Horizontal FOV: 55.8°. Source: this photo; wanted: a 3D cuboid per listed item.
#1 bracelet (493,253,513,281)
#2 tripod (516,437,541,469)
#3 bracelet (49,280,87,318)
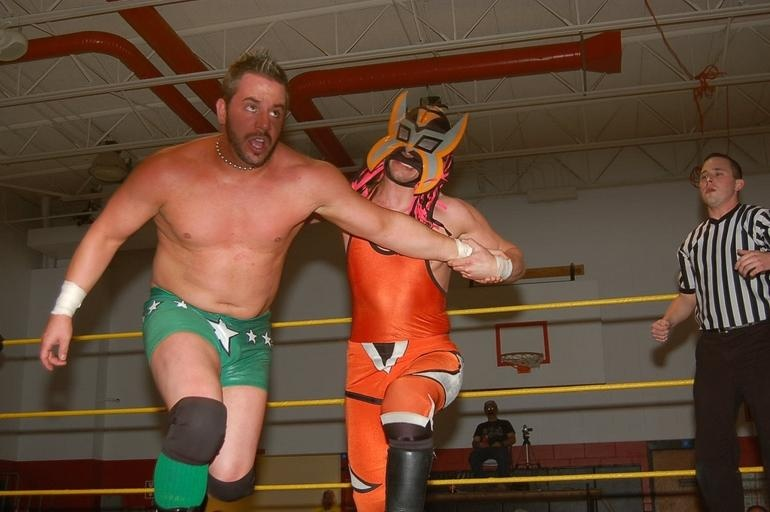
[{"bbox_3d":[0.883,0.079,5.508,0.190,0.179,0.179,-3,-3,5],"label":"bracelet"},{"bbox_3d":[2.191,3.031,11.115,0.362,0.475,0.395,-17,-21,35],"label":"tripod"},{"bbox_3d":[-2.204,0.310,5.085,0.174,0.260,0.230,11,-20,-25],"label":"bracelet"}]
